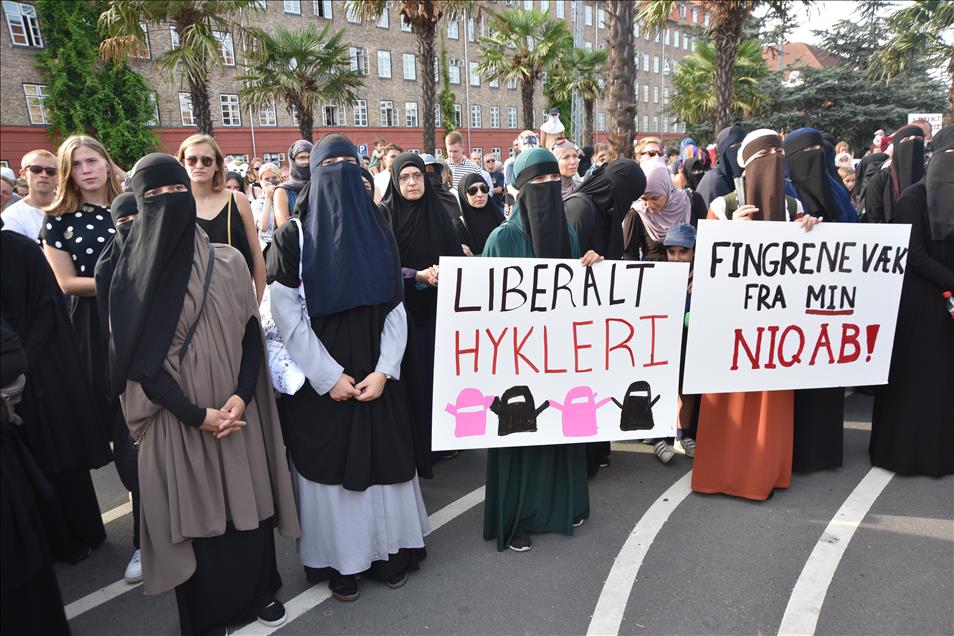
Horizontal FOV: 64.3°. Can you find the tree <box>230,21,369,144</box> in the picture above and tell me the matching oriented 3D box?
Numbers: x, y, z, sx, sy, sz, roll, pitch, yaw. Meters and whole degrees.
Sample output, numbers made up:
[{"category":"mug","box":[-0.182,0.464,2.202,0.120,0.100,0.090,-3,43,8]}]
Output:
[{"category":"tree","box":[-5.418,-6.907,23.516,3.499,4.129,3.615,17,27,36]}]

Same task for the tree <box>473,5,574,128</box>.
[{"category":"tree","box":[1.791,-10.289,30.928,3.077,4.920,3.831,-5,12,-11]}]
